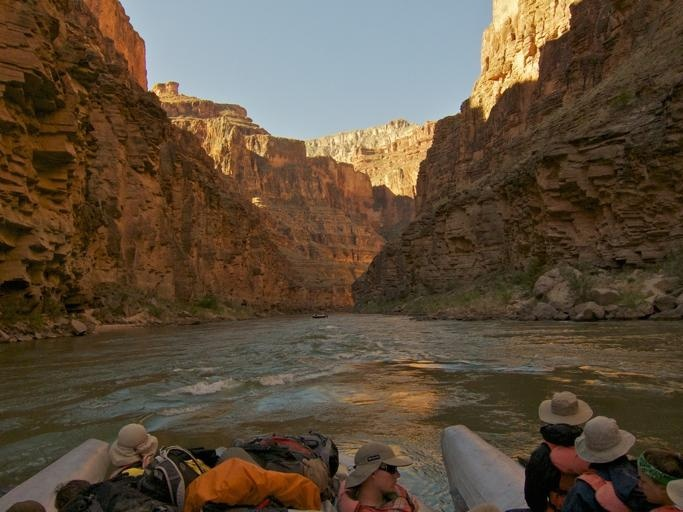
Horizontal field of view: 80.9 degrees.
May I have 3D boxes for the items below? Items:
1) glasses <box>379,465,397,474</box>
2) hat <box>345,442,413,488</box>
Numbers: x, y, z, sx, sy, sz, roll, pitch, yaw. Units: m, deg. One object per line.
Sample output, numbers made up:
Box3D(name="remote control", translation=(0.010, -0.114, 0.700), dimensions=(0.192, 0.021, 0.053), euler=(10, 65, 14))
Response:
Box3D(name="glasses", translation=(0.463, 1.995, 3.757), dimensions=(0.129, 0.029, 0.116), euler=(5, -12, -16))
Box3D(name="hat", translation=(0.332, 1.952, 3.895), dimensions=(0.676, 0.269, 0.385), euler=(-11, -16, -4))
